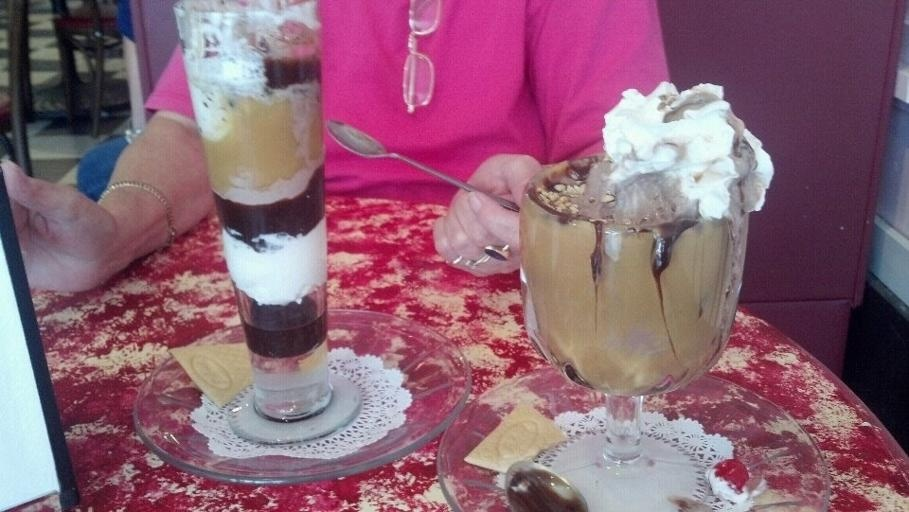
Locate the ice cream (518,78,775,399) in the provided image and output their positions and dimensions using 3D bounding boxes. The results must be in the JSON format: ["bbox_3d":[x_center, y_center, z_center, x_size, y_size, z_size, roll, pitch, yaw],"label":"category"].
[{"bbox_3d":[0.224,0.007,1.006,0.256,0.439,0.239,-12,25,-18],"label":"ice cream"}]

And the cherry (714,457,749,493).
[{"bbox_3d":[0.356,0.283,0.962,0.041,0.021,0.038,10,39,-16],"label":"cherry"}]

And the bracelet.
[{"bbox_3d":[-0.592,-0.090,1.397,0.144,0.135,0.111,-11,16,-30],"label":"bracelet"}]
